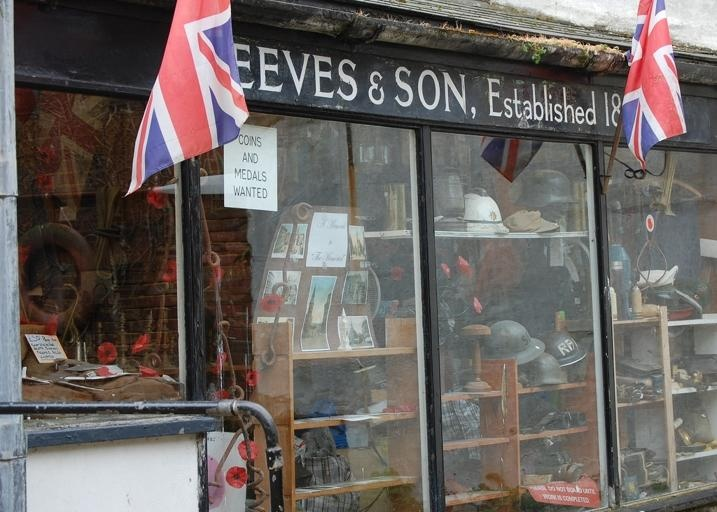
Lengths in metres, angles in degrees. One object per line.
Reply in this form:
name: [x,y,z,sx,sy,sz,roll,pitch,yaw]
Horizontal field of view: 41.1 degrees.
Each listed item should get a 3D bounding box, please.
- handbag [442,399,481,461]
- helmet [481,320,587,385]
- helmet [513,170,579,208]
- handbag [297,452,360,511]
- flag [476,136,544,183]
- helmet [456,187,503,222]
handbag: [0.708,1.246,6.913,0.394,0.385,0.102,2,-5,-39]
helmet: [1.330,0.745,7.196,0.608,0.210,0.489,1,10,-4]
helmet: [1.435,-0.507,7.305,0.385,0.237,0.254,-2,4,-3]
handbag: [-0.212,1.534,6.482,0.437,0.399,0.081,0,-12,-34]
flag: [1.114,-0.726,7.195,0.262,0.244,0.042,26,-7,-17]
helmet: [0.900,-0.374,7.144,0.290,0.199,0.188,0,3,-26]
